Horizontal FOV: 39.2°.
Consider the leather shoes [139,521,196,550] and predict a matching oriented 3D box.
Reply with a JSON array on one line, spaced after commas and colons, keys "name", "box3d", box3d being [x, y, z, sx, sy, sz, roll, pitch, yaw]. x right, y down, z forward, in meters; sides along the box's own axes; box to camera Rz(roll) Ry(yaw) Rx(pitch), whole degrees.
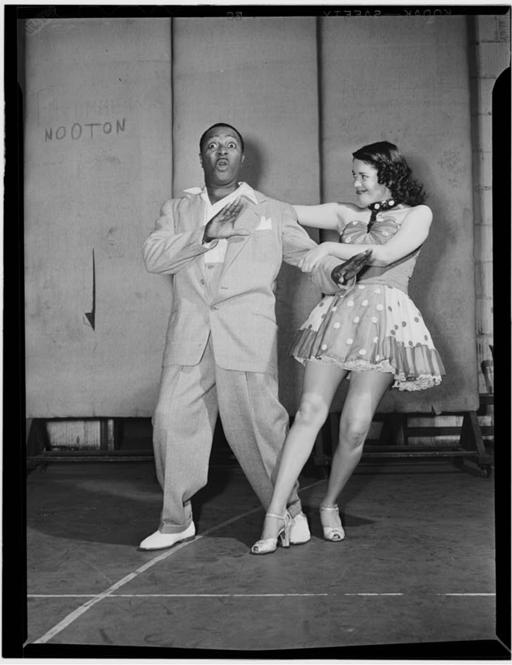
[{"name": "leather shoes", "box3d": [-0.304, 0.698, 2.461, 0.178, 0.096, 0.072, -6, 0, -36]}]

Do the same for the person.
[{"name": "person", "box3d": [0.144, -0.022, 2.715, 1.021, 1.890, 0.755, -4, -17, 13]}]

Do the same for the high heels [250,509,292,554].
[{"name": "high heels", "box3d": [0.050, 0.652, 2.404, 0.080, 0.157, 0.242, 1, 0, 31]}]

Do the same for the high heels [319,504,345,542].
[{"name": "high heels", "box3d": [0.265, 0.657, 2.505, 0.084, 0.096, 0.158, 0, 6, 5]}]
